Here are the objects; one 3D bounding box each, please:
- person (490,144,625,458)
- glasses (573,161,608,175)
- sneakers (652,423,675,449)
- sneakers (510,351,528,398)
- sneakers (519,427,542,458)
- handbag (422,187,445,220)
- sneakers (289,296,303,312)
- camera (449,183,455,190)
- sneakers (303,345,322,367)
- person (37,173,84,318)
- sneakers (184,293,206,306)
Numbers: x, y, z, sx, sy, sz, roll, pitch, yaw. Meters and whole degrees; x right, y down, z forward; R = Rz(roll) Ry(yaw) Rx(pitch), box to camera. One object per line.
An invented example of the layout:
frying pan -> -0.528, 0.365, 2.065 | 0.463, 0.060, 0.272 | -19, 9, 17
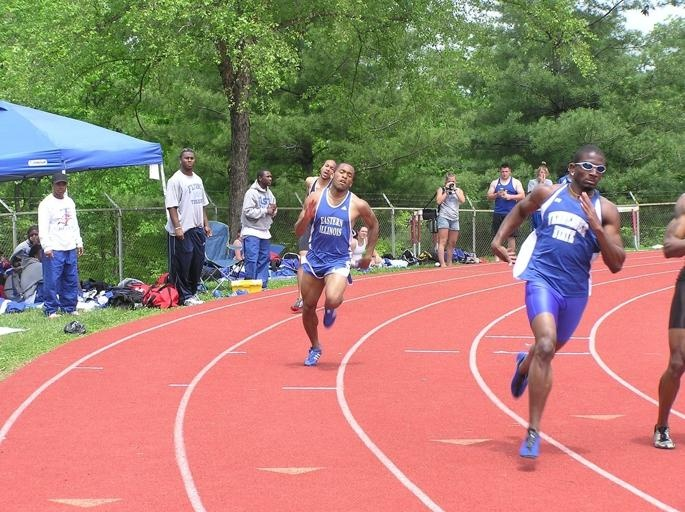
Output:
person -> 1.836, 0.351, 7.185 | 1.022, 2.638, 0.888 | -2, 7, -29
glasses -> 2.174, -0.768, 7.068 | 0.272, 0.102, 0.193 | 1, 6, -1
sneakers -> 2.835, 1.611, 7.161 | 0.109, 0.108, 0.284 | -2, -5, 6
sneakers -> 1.698, 1.190, 7.842 | 0.172, 0.490, 0.200 | 3, 15, -1
sneakers -> 1.570, 1.580, 6.803 | 0.143, 0.291, 0.283 | 3, 6, 19
handbag -> 2.307, -1.418, 20.907 | 0.753, 0.983, 0.391 | 4, 1, -9
sneakers -> -0.751, 0.843, 13.634 | 0.205, 0.238, 0.555 | 11, 6, -1
camera -> 2.656, -1.672, 19.626 | 0.084, 0.146, 0.247 | 5, 7, 33
sneakers -> -0.362, 1.222, 9.911 | 0.118, 0.133, 0.324 | 4, 12, 14
person -> -4.346, -0.156, 12.516 | 0.614, 2.209, 0.766 | -1, 6, -18
sneakers -> -2.645, 0.812, 14.488 | 0.353, 0.151, 0.140 | -2, -3, 30
